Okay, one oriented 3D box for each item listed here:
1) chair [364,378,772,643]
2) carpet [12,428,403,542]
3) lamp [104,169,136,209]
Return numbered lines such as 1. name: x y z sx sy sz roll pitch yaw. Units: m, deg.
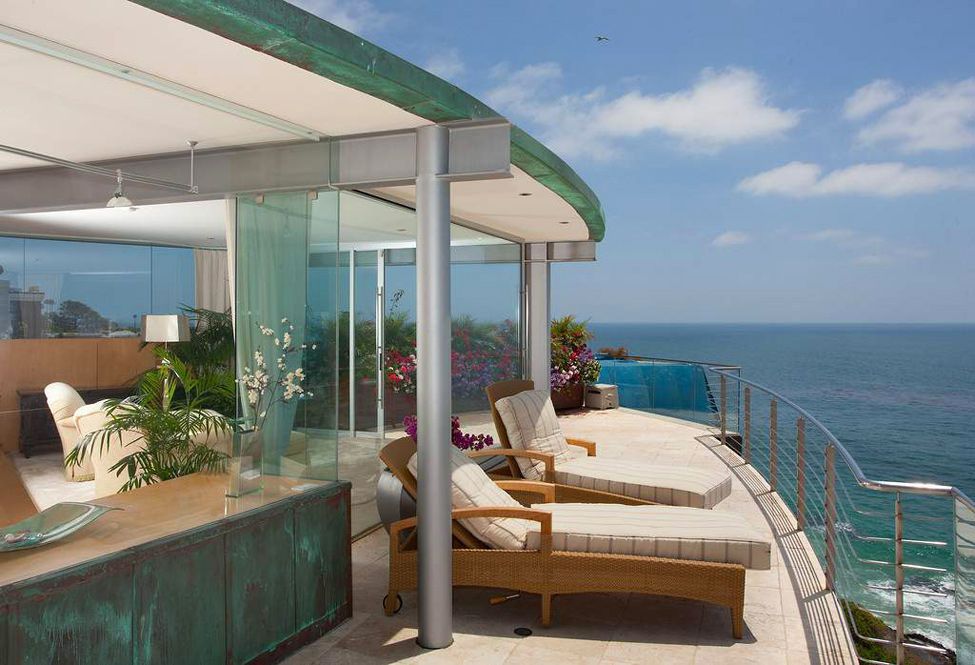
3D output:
1. chair: 0.788 0.956 4.850 1.672 0.978 2.318 -1 0 6
2. carpet: -2.006 1.157 4.917 1.233 0.534 1.275 0 -1 10
3. lamp: -2.857 -1.131 4.985 0.360 0.302 0.154 4 7 41
